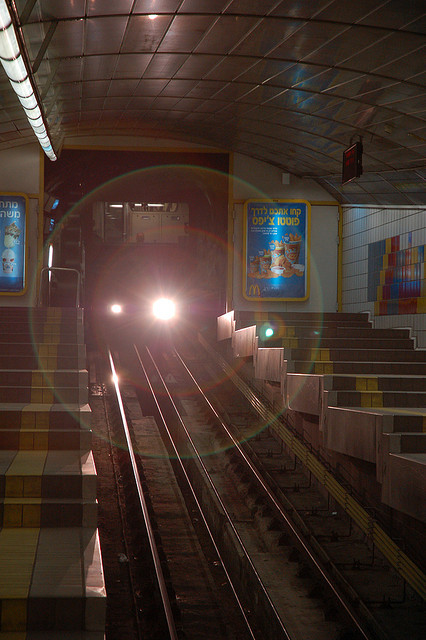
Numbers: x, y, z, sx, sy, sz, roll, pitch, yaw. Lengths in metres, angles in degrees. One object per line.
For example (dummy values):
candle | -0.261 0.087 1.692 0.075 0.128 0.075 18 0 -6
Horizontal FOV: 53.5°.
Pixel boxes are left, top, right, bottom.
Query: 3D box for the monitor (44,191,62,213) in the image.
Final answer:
monitor | -6.474 -4.670 16.887 0.181 0.768 0.811 19 14 23

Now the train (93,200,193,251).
train | -4.408 -6.198 24.659 6.032 3.383 3.050 3 2 1
